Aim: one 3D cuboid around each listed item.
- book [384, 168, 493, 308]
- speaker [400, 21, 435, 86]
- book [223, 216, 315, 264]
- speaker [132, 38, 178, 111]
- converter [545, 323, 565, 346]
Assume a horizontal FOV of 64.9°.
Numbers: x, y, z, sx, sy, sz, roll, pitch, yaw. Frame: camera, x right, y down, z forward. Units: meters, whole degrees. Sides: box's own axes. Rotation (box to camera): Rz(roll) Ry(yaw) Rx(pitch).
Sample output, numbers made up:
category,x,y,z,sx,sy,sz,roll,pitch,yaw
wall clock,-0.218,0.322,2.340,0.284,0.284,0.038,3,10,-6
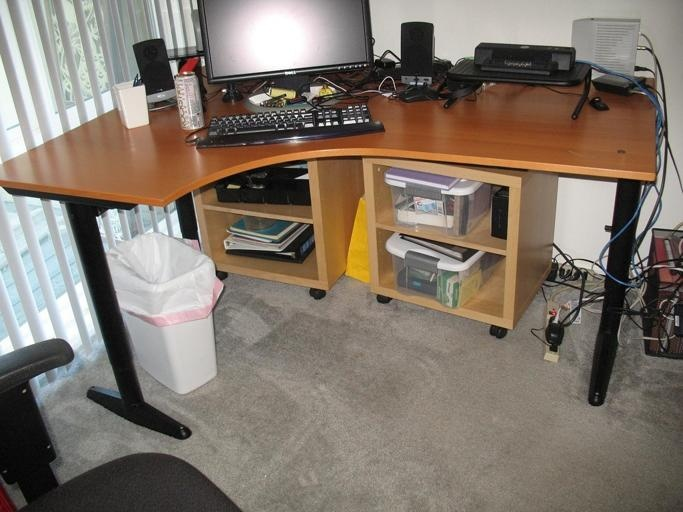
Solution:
category,x,y,z,sx,sy,sz,roll,pitch,yaw
book,0.462,-0.088,2.475,0.395,0.666,0.387,17,32,27
speaker,0.338,-0.862,2.361,0.145,0.280,0.130,16,33,22
book,-0.349,-0.077,2.693,0.340,0.056,0.362,10,29,29
speaker,-0.800,-0.775,2.377,0.177,0.331,0.175,-17,37,-31
converter,0.864,0.321,2.168,0.067,0.091,0.033,6,9,31
